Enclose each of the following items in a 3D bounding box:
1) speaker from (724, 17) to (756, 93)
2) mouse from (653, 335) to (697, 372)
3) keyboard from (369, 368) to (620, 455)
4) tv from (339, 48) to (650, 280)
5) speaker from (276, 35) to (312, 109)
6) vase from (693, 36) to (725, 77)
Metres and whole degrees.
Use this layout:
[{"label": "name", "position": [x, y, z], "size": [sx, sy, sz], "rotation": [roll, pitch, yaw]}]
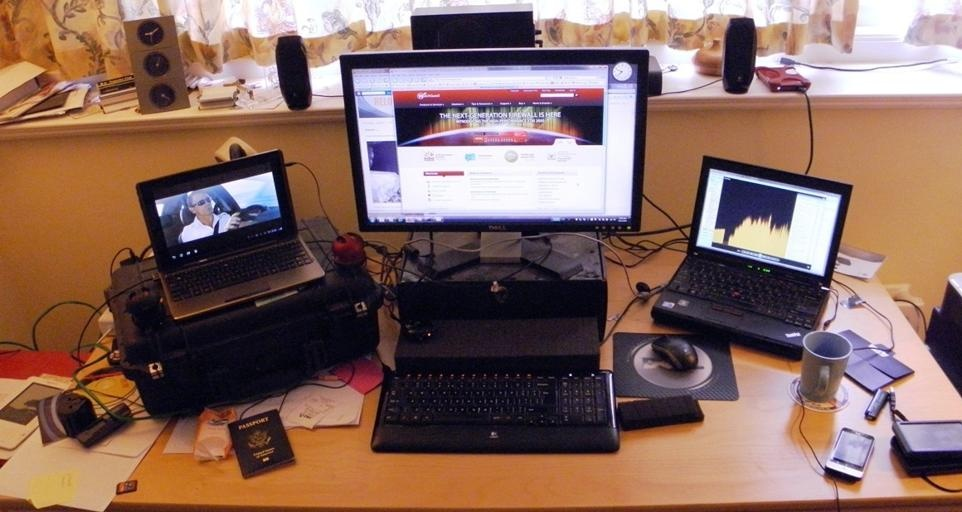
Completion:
[{"label": "speaker", "position": [1.001, -0.770, 2.666], "size": [0.114, 0.284, 0.088], "rotation": [3, 22, 16]}, {"label": "mouse", "position": [0.692, 0.340, 2.404], "size": [0.104, 0.053, 0.158], "rotation": [-17, 36, -25]}, {"label": "keyboard", "position": [0.056, 0.514, 2.337], "size": [0.826, 0.061, 0.272], "rotation": [-3, 59, 8]}, {"label": "tv", "position": [0.050, -0.335, 2.418], "size": [1.101, 0.563, 0.091], "rotation": [0, 16, 0]}, {"label": "speaker", "position": [-0.735, -0.713, 2.693], "size": [0.120, 0.284, 0.099], "rotation": [-8, 22, -12]}, {"label": "vase", "position": [0.964, -0.808, 2.830], "size": [0.115, 0.147, 0.177], "rotation": [-10, 21, -20]}]
